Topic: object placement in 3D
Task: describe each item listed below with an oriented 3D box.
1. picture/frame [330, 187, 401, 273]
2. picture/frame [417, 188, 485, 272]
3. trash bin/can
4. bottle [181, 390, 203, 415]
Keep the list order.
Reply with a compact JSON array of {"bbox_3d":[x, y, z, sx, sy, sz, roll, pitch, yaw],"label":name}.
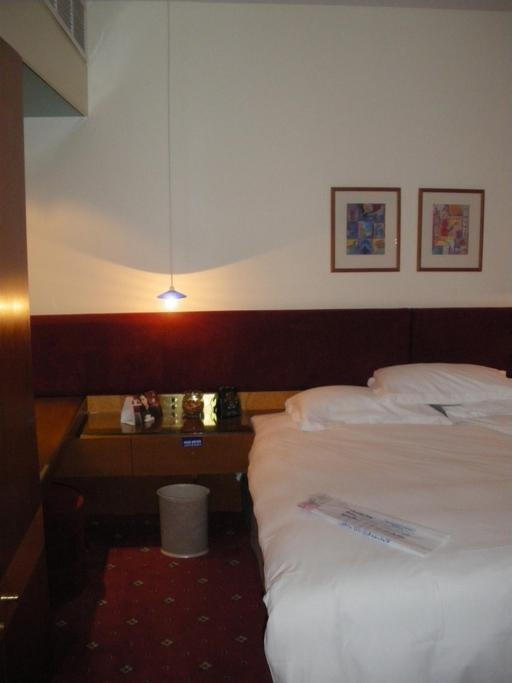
[{"bbox_3d":[0.648,-0.666,3.132,0.402,0.522,0.032,2,30,14],"label":"picture/frame"},{"bbox_3d":[1.157,-0.697,3.177,0.452,0.586,0.037,-1,6,-2],"label":"picture/frame"},{"bbox_3d":[-0.357,0.844,2.605,0.272,0.304,0.276,-4,15,-16],"label":"trash bin/can"},{"bbox_3d":[-0.355,0.332,2.874,0.111,0.117,0.116,1,1,-8],"label":"bottle"}]
